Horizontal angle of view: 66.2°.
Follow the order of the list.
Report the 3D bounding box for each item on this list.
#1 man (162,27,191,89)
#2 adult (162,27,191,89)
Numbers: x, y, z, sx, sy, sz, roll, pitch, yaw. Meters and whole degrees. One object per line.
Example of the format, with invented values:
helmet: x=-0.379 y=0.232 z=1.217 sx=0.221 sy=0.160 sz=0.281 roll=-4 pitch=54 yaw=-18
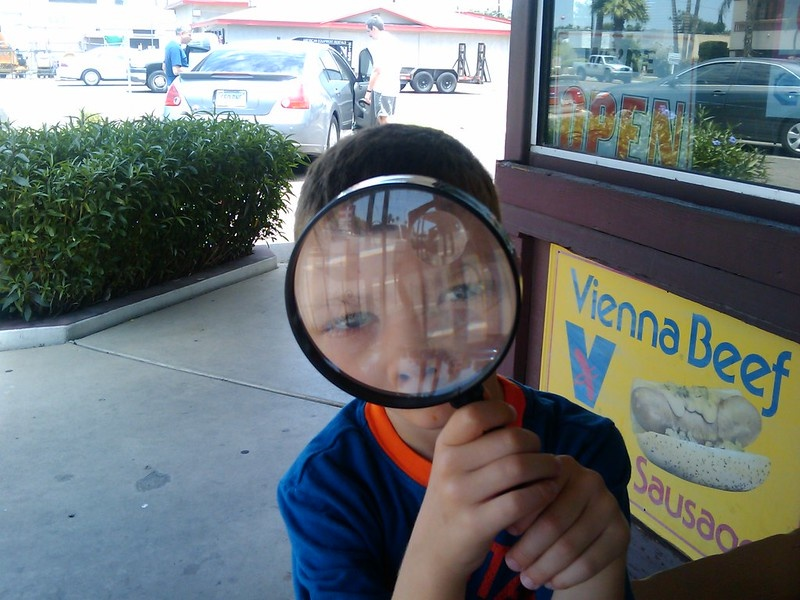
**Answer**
man: x=-4.407 y=-4.826 z=12.456 sx=0.585 sy=1.334 sz=0.720 roll=-3 pitch=33 yaw=-29
adult: x=-4.425 y=-4.839 z=12.468 sx=0.582 sy=1.366 sz=0.709 roll=-4 pitch=31 yaw=-31
